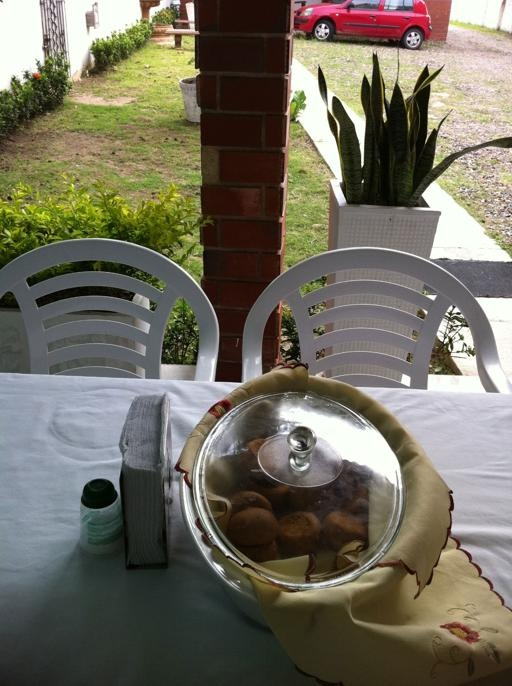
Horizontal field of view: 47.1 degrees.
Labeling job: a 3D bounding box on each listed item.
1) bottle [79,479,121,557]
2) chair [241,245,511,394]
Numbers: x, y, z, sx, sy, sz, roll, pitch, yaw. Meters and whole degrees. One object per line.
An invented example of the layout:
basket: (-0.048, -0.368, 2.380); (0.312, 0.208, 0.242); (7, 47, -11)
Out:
bottle: (-0.132, 0.149, 0.496); (0.037, 0.072, 0.027); (-5, 25, -15)
chair: (0.189, -0.002, 1.084); (0.368, 0.404, 0.294); (1, 47, 2)
